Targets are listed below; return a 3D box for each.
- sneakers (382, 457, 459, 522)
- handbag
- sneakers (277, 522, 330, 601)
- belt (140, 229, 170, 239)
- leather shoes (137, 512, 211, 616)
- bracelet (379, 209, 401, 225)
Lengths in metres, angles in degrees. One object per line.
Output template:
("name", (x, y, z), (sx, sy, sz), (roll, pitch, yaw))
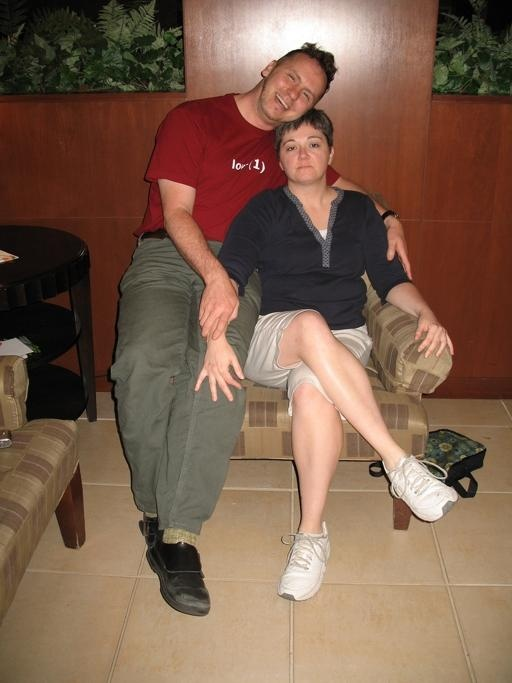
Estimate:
("sneakers", (0.421, 0.369, 1.398), (0.115, 0.098, 0.223), (-43, 22, -6))
("handbag", (0.708, 0.421, 1.850), (0.231, 0.083, 0.305), (-6, 23, -3))
("sneakers", (0.123, 0.561, 1.349), (0.087, 0.094, 0.210), (3, 25, 13))
("belt", (-0.342, -0.359, 1.700), (0.064, 0.026, 0.048), (-9, 20, -4))
("leather shoes", (-0.201, 0.567, 1.369), (0.101, 0.118, 0.293), (4, 31, -45))
("bracelet", (0.488, -0.466, 1.873), (0.056, 0.047, 0.074), (1, 27, 3))
